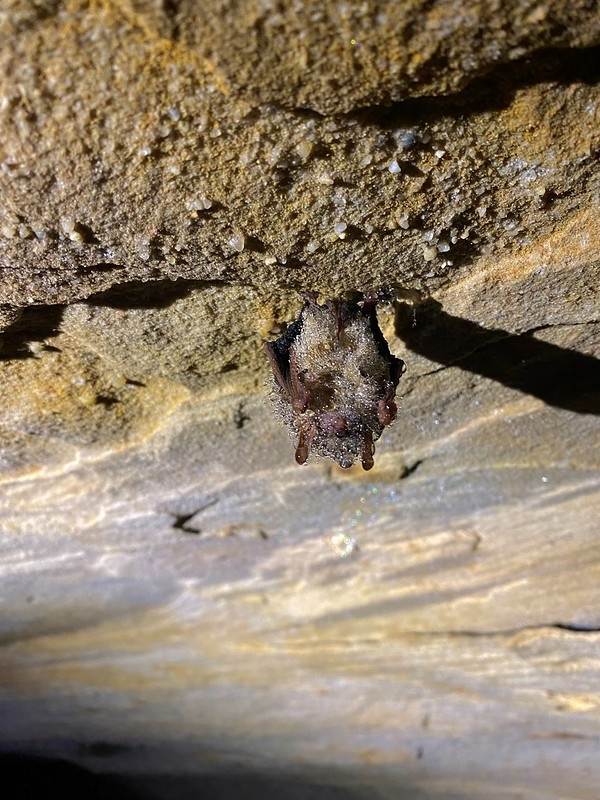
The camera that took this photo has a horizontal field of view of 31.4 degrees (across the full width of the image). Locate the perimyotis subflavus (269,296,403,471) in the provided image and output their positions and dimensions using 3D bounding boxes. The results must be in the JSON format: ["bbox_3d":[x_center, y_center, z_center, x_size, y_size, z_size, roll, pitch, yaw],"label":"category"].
[{"bbox_3d":[0.082,-0.055,3.031,0.402,0.507,0.281,-2,-13,14],"label":"perimyotis subflavus"}]
